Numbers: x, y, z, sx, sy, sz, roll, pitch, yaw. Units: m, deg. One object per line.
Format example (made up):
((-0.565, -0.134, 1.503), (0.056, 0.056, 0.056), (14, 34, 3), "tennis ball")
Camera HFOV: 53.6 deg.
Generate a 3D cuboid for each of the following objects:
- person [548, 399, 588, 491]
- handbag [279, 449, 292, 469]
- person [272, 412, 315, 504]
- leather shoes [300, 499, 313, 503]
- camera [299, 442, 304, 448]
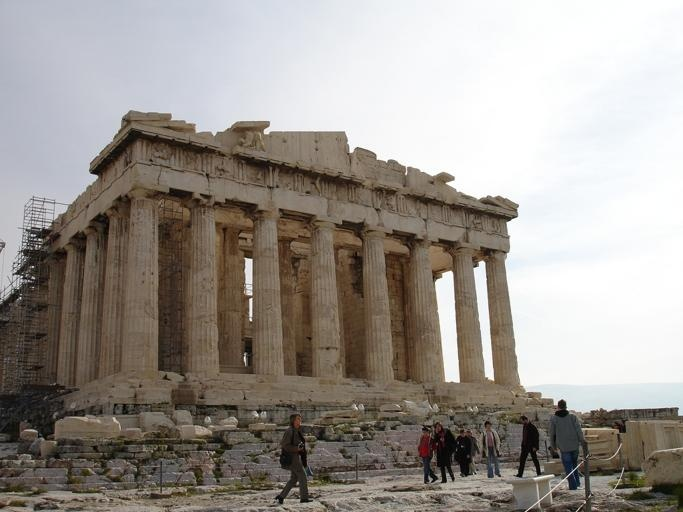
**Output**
((4.500, 3.756, 13.445), (0.643, 1.773, 1.292), (-8, -19, 15), "person")
((-1.106, 3.914, 12.985), (0.153, 0.325, 0.329), (8, -21, -30), "handbag")
((-0.960, 3.997, 13.366), (0.660, 1.659, 1.372), (-2, -18, -3), "person")
((-0.670, 4.675, 12.910), (0.240, 0.075, 0.291), (-1, -17, -6), "leather shoes")
((-0.753, 3.662, 13.009), (0.114, 0.102, 0.033), (7, 17, -35), "camera")
